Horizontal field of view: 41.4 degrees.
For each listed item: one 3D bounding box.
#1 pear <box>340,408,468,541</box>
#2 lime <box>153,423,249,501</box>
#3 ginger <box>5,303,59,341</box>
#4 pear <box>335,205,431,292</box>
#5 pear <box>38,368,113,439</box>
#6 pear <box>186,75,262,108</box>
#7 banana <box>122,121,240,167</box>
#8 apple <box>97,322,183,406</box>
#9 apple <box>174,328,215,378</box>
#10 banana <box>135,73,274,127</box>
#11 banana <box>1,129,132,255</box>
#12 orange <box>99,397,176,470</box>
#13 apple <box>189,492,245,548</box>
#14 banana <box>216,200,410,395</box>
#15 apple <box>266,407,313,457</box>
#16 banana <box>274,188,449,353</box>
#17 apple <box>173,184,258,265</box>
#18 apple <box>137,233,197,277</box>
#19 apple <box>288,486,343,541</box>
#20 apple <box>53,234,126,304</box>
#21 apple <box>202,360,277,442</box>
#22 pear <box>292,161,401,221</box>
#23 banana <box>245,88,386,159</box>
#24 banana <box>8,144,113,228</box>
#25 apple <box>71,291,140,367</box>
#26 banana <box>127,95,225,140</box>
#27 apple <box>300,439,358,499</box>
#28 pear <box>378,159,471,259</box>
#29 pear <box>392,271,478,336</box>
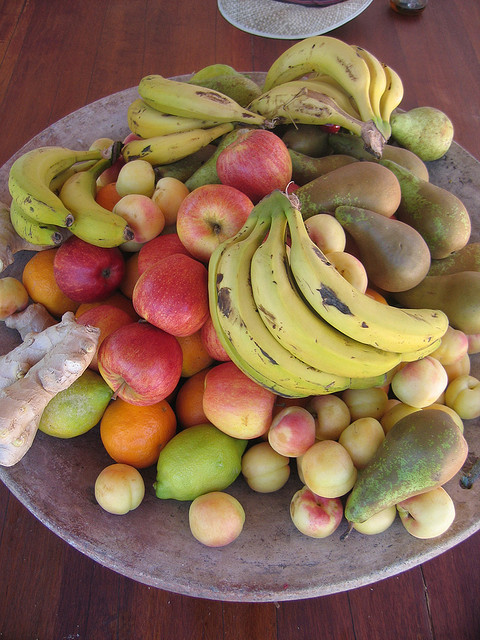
[{"bbox_3d":[0.239,0.221,0.953,0.217,0.102,0.102,-42,33,7],"label":"pear"},{"bbox_3d":[-0.060,0.223,0.994,0.125,0.081,0.124,7,58,5],"label":"lime"},{"bbox_3d":[-0.354,0.002,1.078,0.083,0.029,0.061,2,59,2],"label":"ginger"},{"bbox_3d":[0.230,-0.111,1.039,0.171,0.082,0.097,36,99,-6],"label":"pear"},{"bbox_3d":[-0.257,0.134,1.002,0.125,0.093,0.075,-38,105,5],"label":"pear"},{"bbox_3d":[-0.013,-0.433,1.250,0.172,0.068,0.052,9,104,-6],"label":"pear"},{"bbox_3d":[-0.102,-0.326,1.157,0.241,0.055,0.071,-2,102,31],"label":"banana"},{"bbox_3d":[-0.151,0.063,0.957,0.087,0.085,0.098,44,76,8],"label":"apple"},{"bbox_3d":[-0.076,0.051,1.046,0.079,0.083,0.066,-6,100,-8],"label":"apple"},{"bbox_3d":[-0.034,-0.382,1.139,0.312,0.062,0.089,13,25,15],"label":"banana"},{"bbox_3d":[-0.256,-0.223,1.079,0.202,0.089,0.238,18,55,13],"label":"banana"},{"bbox_3d":[-0.167,0.179,1.038,0.130,0.089,0.111,-13,42,-26],"label":"orange"},{"bbox_3d":[-0.029,0.290,0.943,0.095,0.046,0.077,-14,57,12],"label":"apple"},{"bbox_3d":[0.044,-0.007,0.884,0.227,0.085,0.293,-43,95,-17],"label":"banana"},{"bbox_3d":[0.077,0.169,0.997,0.075,0.072,0.067,5,97,1],"label":"apple"},{"bbox_3d":[0.133,-0.051,0.865,0.294,0.123,0.123,30,64,18],"label":"banana"},{"bbox_3d":[-0.057,-0.177,1.032,0.159,0.139,0.148,3,22,7],"label":"apple"},{"bbox_3d":[-0.116,-0.113,1.083,0.098,0.073,0.072,-16,36,9],"label":"apple"},{"bbox_3d":[0.110,0.285,0.931,0.074,0.040,0.067,-20,68,-19],"label":"apple"},{"bbox_3d":[-0.248,-0.078,1.041,0.127,0.118,0.109,-5,87,26],"label":"apple"},{"bbox_3d":[0.006,0.123,1.006,0.128,0.122,0.106,-2,102,-3],"label":"apple"},{"bbox_3d":[0.152,-0.209,1.040,0.230,0.101,0.086,-8,95,-19],"label":"pear"},{"bbox_3d":[0.128,-0.360,1.108,0.051,0.261,0.070,-35,108,-42],"label":"banana"},{"bbox_3d":[-0.300,-0.210,1.082,0.126,0.056,0.214,18,42,13],"label":"banana"},{"bbox_3d":[-0.210,0.016,0.989,0.079,0.074,0.090,33,49,9],"label":"apple"},{"bbox_3d":[-0.101,-0.367,1.161,0.226,0.080,0.062,8,32,29],"label":"banana"},{"bbox_3d":[0.128,0.217,0.969,0.086,0.080,0.081,-27,81,4],"label":"apple"},{"bbox_3d":[0.321,-0.178,1.114,0.095,0.095,0.220,-46,78,10],"label":"pear"},{"bbox_3d":[0.339,-0.030,1.033,0.175,0.071,0.065,13,79,20],"label":"pear"}]
